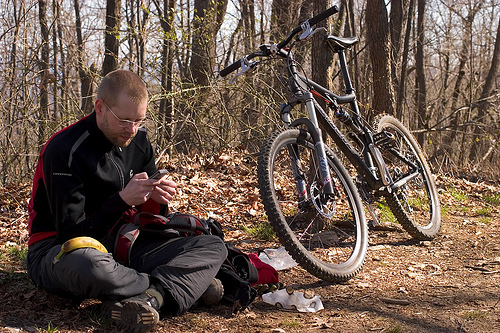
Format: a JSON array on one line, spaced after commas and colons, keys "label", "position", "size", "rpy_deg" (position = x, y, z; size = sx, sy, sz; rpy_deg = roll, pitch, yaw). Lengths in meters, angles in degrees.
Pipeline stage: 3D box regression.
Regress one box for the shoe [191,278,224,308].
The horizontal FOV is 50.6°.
[{"label": "shoe", "position": [-0.463, 1.458, 6.023], "size": [0.296, 0.345, 0.069], "rpy_deg": [2, 5, -5]}]
